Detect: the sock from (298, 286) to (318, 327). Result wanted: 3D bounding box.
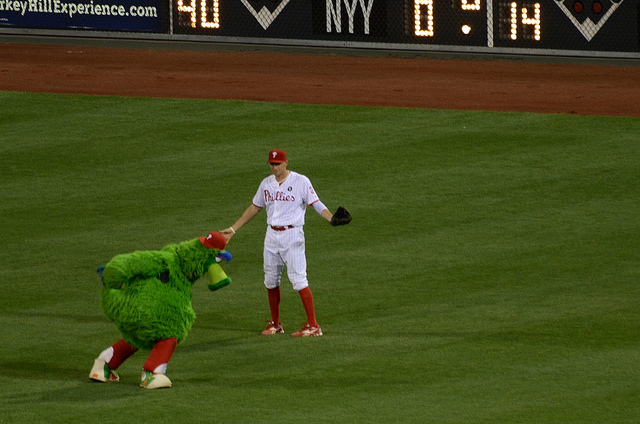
[{"bbox_3d":[-0.148,1.288,19.736,0.233,0.539,0.325,-1,6,0],"label":"sock"}]

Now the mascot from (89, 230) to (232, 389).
[{"bbox_3d":[-2.006,1.262,18.897,2.026,1.837,1.472,-1,-2,-10],"label":"mascot"}]

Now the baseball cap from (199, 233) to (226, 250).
[{"bbox_3d":[-1.343,0.390,18.663,0.297,0.135,0.191,16,11,-13],"label":"baseball cap"}]

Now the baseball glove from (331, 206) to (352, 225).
[{"bbox_3d":[0.280,0.063,19.521,0.333,0.177,0.180,-3,7,-12],"label":"baseball glove"}]

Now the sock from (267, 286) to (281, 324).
[{"bbox_3d":[-0.578,1.277,19.786,0.146,0.512,0.221,4,8,42],"label":"sock"}]

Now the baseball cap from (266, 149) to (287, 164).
[{"bbox_3d":[-0.561,-0.724,19.613,0.227,0.184,0.143,-1,5,-5],"label":"baseball cap"}]
